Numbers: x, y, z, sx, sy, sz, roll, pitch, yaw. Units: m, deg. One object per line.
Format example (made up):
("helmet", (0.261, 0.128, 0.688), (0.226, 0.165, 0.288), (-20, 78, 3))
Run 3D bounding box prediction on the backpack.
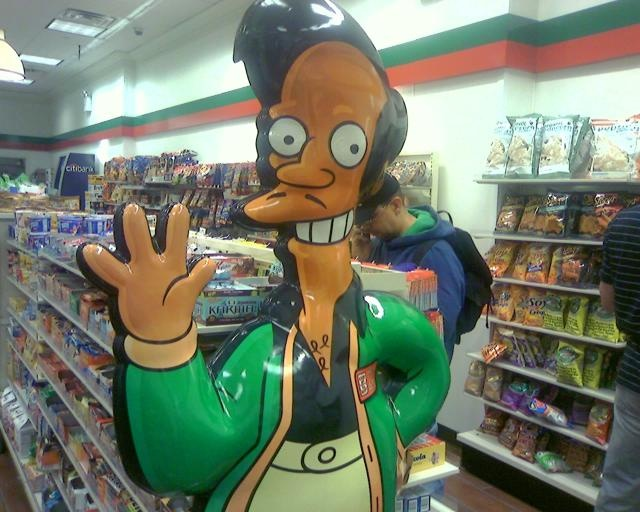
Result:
("backpack", (0.608, 0.092, 2.546), (0.513, 0.594, 0.395), (9, -3, -9))
